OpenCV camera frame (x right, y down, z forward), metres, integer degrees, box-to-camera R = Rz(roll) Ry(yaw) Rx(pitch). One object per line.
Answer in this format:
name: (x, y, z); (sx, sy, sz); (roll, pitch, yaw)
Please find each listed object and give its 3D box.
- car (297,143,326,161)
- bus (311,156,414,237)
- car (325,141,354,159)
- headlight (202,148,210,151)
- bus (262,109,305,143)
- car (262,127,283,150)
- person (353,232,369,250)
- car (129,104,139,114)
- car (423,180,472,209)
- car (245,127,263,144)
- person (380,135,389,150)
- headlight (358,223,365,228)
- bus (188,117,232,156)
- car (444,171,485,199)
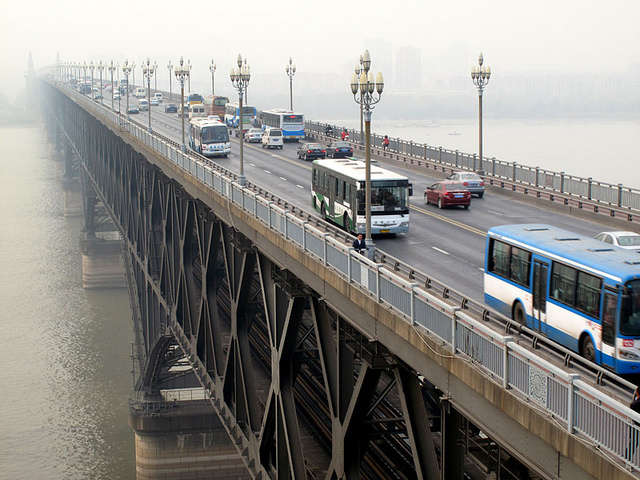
car: (-0.681, -6.425, 62.419); (1.205, 1.204, 2.467); (-9, 17, -42)
bus: (1.479, -1.954, 38.477); (2.131, 2.921, 7.258); (-2, 11, -18)
car: (1.454, -6.819, 63.918); (1.997, 0.920, 2.796); (6, 14, 14)
headlight: (-8.289, -6.595, 61.830); (0.448, 0.189, 0.145); (6, 12, 16)
bus: (-4.839, -10.937, 81.193); (2.716, 3.342, 8.427); (-6, 11, -35)
car: (-3.975, -8.502, 71.554); (1.641, 1.600, 1.417); (1, 11, -6)
person: (1.239, 0.123, 26.637); (0.391, 0.367, 1.019); (-3, 40, 2)
car: (-24.404, -17.209, 111.299); (1.179, 1.159, 2.199); (-6, 13, -18)
car: (6.396, -2.264, 42.851); (1.212, 1.333, 2.570); (-4, 14, -25)
car: (-6.046, -9.536, 77.932); (0.946, 0.932, 2.258); (-3, 8, -15)
person: (5.237, -7.719, 67.436); (0.456, 0.933, 1.439); (2, 12, 3)
headlight: (1.670, -0.608, 34.648); (0.266, 0.212, 0.101); (9, 13, 29)
bus: (-8.502, -7.885, 64.580); (1.715, 2.160, 5.991); (-4, 14, -16)
car: (8.250, -3.031, 47.557); (0.976, 1.015, 2.441); (-2, 18, -12)
